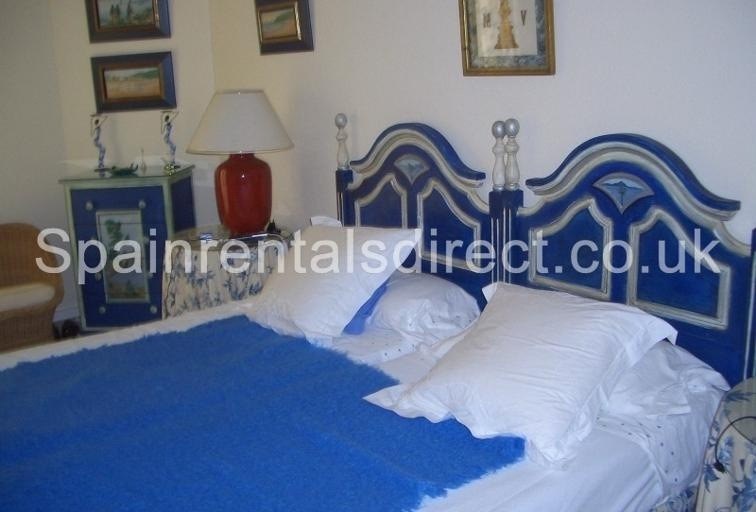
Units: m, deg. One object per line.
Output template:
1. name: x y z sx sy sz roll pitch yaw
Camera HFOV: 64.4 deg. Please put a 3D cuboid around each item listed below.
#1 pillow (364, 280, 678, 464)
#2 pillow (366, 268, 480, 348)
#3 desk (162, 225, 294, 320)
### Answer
1. pillow: 0.530 0.408 2.184 0.976 0.509 0.485 0 3 28
2. pillow: 0.212 0.220 2.642 0.340 0.337 0.108 15 -22 9
3. desk: -0.907 0.107 3.434 0.548 0.368 0.562 -6 15 -19
